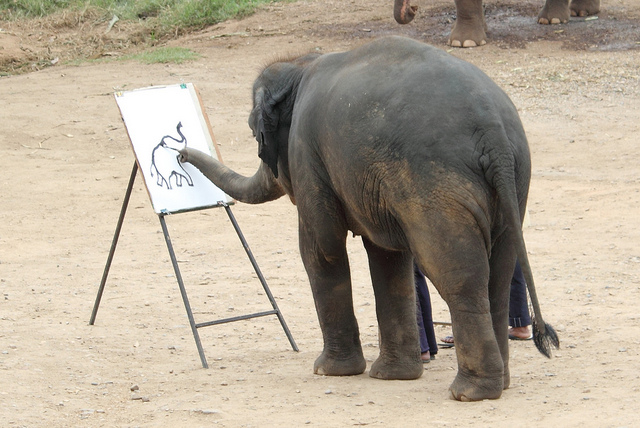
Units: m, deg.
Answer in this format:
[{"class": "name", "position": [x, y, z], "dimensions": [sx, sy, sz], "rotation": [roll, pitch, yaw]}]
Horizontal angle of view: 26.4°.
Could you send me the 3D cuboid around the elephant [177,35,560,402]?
[{"class": "elephant", "position": [0.270, -0.020, 15.421], "dimensions": [1.950, 3.603, 5.486], "rotation": [-9, 10, -42]}]
